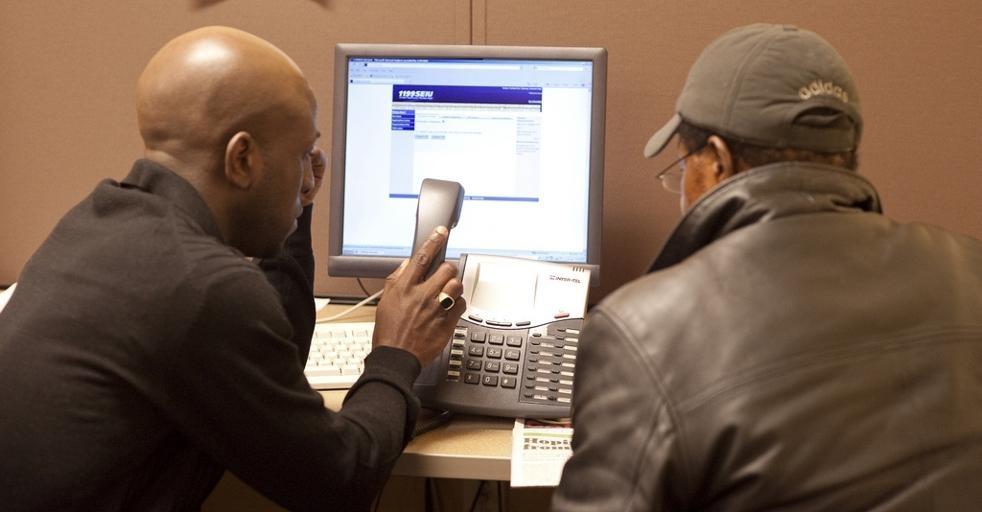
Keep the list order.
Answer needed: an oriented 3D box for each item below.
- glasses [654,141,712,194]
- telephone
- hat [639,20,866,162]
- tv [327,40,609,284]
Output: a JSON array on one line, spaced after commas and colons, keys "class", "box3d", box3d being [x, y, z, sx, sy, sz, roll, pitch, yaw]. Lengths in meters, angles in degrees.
[{"class": "glasses", "box3d": [0.398, -0.185, 1.607, 0.023, 0.083, 0.080, 52, -24, -11]}, {"class": "telephone", "box3d": [0.045, 0.098, 1.568, 0.342, 0.410, 0.152, 6, -22, 6]}, {"class": "hat", "box3d": [0.507, -0.317, 1.491, 0.330, 0.156, 0.230, 8, 7, 39]}, {"class": "tv", "box3d": [-0.044, -0.224, 1.805, 0.621, 0.465, 0.049, 3, -1, 3]}]
